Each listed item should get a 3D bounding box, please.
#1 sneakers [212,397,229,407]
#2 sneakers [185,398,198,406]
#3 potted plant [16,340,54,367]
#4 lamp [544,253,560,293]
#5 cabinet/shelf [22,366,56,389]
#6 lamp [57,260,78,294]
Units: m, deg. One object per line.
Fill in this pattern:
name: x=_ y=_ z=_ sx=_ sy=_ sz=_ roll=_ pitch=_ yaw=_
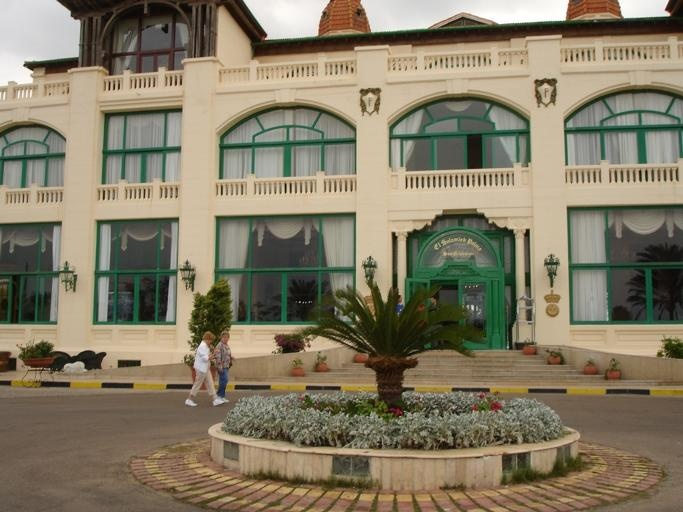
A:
sneakers: x=-3.458 y=4.190 z=24.038 sx=0.435 sy=0.190 sz=0.162 roll=-2 pitch=0 yaw=2
sneakers: x=-4.305 y=4.202 z=23.951 sx=0.428 sy=0.214 sz=0.154 roll=3 pitch=-1 yaw=10
potted plant: x=-11.552 y=3.662 z=31.846 sx=1.298 sy=1.223 sz=1.500 roll=3 pitch=-12 yaw=-10
lamp: x=8.089 y=0.609 z=32.137 sx=0.630 sy=1.318 sz=0.455 roll=0 pitch=11 yaw=-7
cabinet/shelf: x=-10.968 y=4.384 z=30.167 sx=0.820 sy=0.632 sz=0.811 roll=1 pitch=-11 yaw=0
lamp: x=-11.473 y=0.888 z=35.257 sx=0.709 sy=1.261 sz=0.449 roll=-3 pitch=12 yaw=-22
